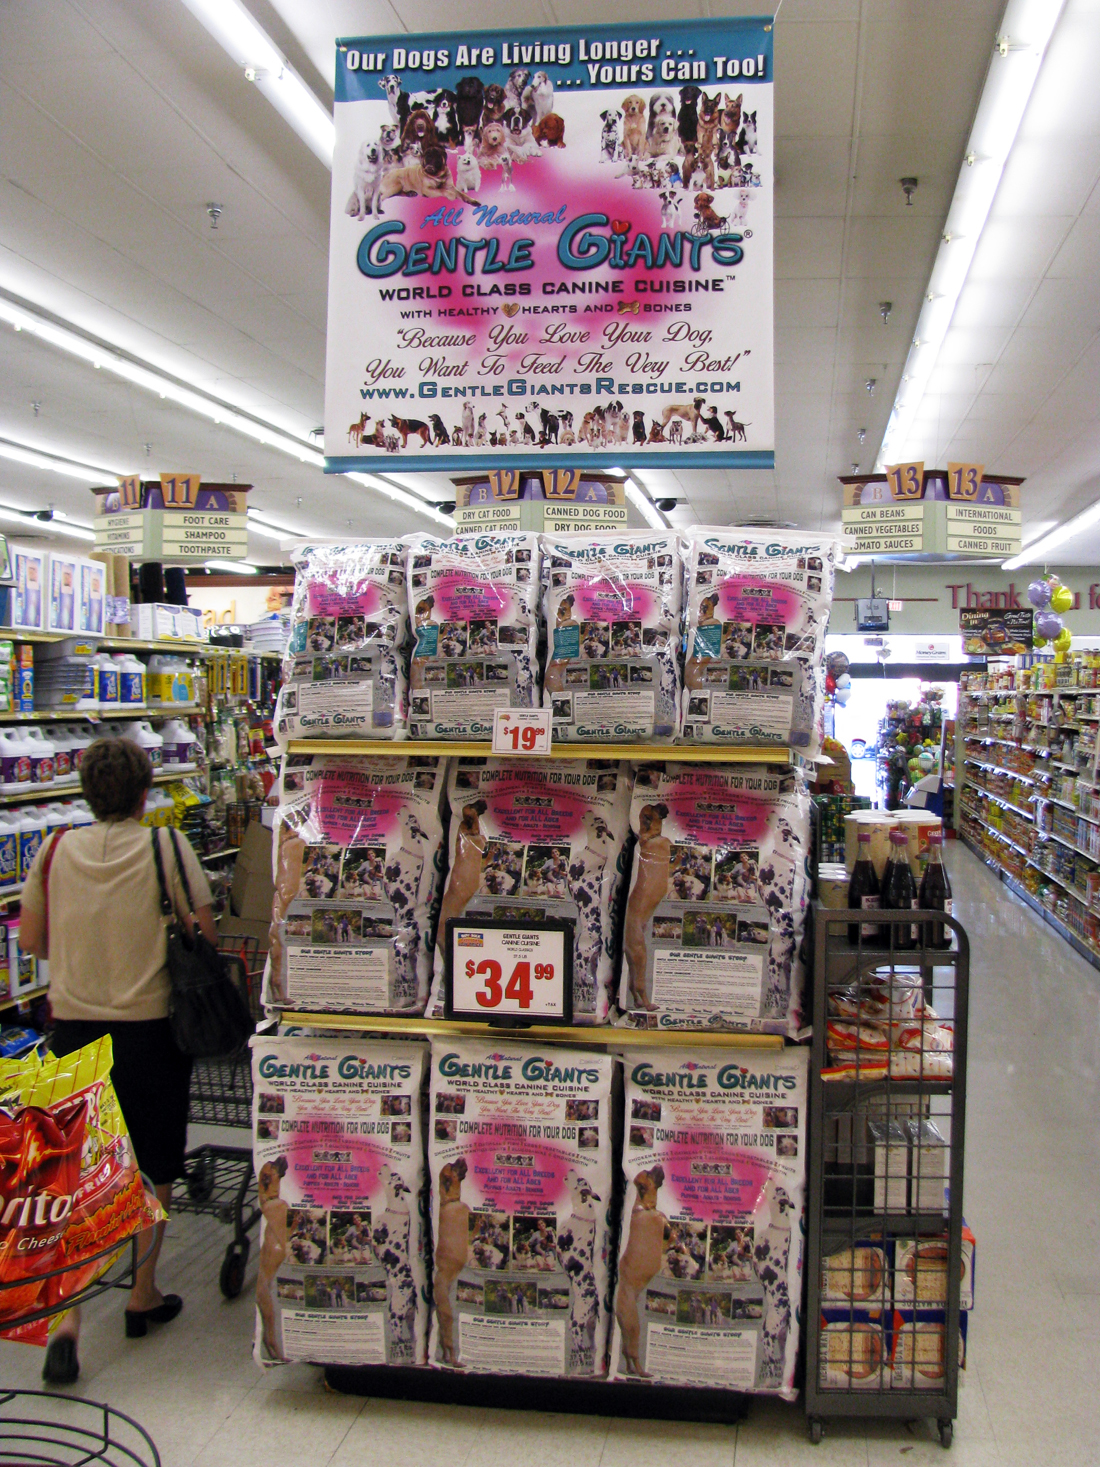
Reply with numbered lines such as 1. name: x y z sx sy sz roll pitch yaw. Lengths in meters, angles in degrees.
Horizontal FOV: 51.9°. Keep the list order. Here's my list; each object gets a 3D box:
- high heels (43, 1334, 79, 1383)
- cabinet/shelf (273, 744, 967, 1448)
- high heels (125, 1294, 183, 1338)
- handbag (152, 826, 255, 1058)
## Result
1. high heels: -1.069 1.380 2.476 0.049 0.060 0.142 2 -19 -11
2. cabinet/shelf: 0.133 0.747 2.253 1.394 1.296 0.545 1 -1 4
3. high heels: -0.955 1.412 2.729 0.048 0.056 0.136 0 3 21
4. handbag: -0.874 0.507 2.783 0.247 0.534 0.153 1 -2 -1
